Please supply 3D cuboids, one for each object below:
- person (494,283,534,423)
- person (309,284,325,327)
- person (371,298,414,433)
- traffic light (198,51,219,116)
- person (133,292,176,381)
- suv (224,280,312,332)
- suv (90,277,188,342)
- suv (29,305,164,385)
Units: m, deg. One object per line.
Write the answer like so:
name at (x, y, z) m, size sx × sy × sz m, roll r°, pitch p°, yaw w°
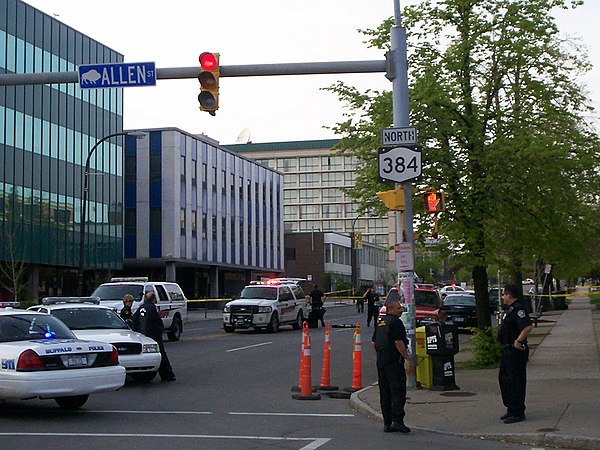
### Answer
person at (4.137, 2.470, 14.716) m, size 0.733 × 2.582 × 0.736 m, roll 0°, pitch -4°, yaw -15°
person at (0.866, 3.889, 37.170) m, size 0.695 × 2.146 × 0.467 m, roll -5°, pitch 18°, yaw -3°
person at (1.750, 2.667, 14.376) m, size 0.705 × 2.415 × 0.645 m, roll -2°, pitch -4°, yaw 8°
traffic light at (-2.033, -3.157, 17.067) m, size 0.492 × 1.420 × 0.348 m, roll -1°, pitch -4°, yaw -8°
person at (-3.868, 2.816, 20.114) m, size 1.047 × 2.466 × 0.986 m, roll 4°, pitch -2°, yaw 7°
suv at (-1.427, 3.956, 36.244) m, size 2.372 × 2.223 × 5.218 m, roll -4°, pitch -6°, yaw 28°
suv at (-6.172, 3.282, 29.601) m, size 2.371 × 2.266 × 4.608 m, roll -4°, pitch -11°, yaw 28°
suv at (-4.798, 2.867, 19.103) m, size 1.510 × 1.309 × 3.771 m, roll 4°, pitch -6°, yaw -36°
